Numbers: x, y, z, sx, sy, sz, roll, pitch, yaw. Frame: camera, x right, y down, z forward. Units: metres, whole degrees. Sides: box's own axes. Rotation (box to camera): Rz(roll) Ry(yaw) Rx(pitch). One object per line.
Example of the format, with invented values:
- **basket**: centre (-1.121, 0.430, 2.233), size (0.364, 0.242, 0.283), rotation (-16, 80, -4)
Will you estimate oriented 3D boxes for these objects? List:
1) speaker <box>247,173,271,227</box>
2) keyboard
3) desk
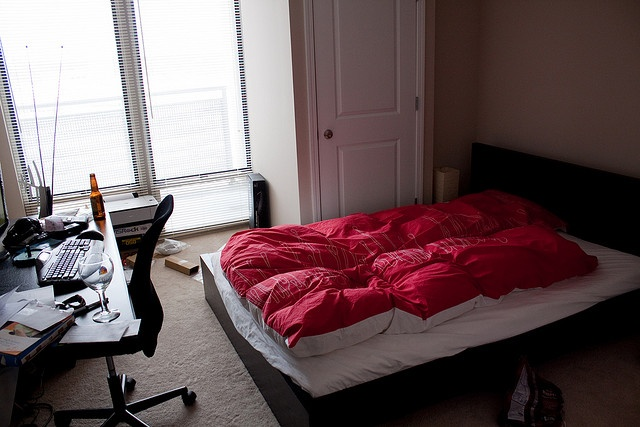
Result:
- **speaker**: centre (-0.642, -0.153, 4.688), size (0.194, 0.591, 0.394), rotation (-5, 23, -13)
- **keyboard**: centre (-1.564, 0.281, 2.737), size (0.331, 0.079, 0.629), rotation (7, 17, -19)
- **desk**: centre (-1.440, 0.428, 2.498), size (0.535, 0.287, 1.210), rotation (-9, 39, -19)
